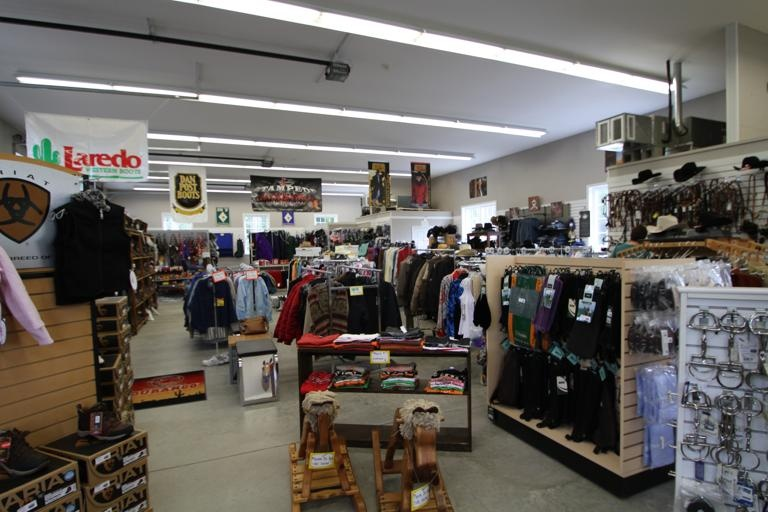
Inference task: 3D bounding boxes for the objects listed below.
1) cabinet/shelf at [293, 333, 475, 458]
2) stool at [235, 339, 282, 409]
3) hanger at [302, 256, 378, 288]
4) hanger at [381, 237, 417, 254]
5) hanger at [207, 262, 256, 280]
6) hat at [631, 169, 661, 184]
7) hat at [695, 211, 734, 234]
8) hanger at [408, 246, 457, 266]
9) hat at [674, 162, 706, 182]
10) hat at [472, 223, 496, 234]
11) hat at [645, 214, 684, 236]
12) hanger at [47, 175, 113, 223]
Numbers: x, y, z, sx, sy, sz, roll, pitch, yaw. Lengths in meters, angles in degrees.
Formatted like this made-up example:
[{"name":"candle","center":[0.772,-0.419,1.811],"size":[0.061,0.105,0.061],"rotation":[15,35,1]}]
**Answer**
[{"name":"cabinet/shelf","center":[0.111,1.495,6.547],"size":[1.982,1.312,1.973],"rotation":[-1,4,6]},{"name":"stool","center":[-1.737,1.607,7.140],"size":[0.721,0.936,0.720],"rotation":[-1,1,-26]},{"name":"hanger","center":[-0.579,0.253,7.984],"size":[0.821,0.359,0.625],"rotation":[-3,6,-40]},{"name":"hanger","center":[0.290,-0.281,12.712],"size":[1.243,0.460,0.368],"rotation":[0,4,41]},{"name":"hanger","center":[-3.220,0.298,10.655],"size":[0.667,0.249,0.476],"rotation":[0,2,-13]},{"name":"hat","center":[4.546,-1.385,8.752],"size":[0.469,0.245,0.298],"rotation":[2,5,43]},{"name":"hat","center":[4.347,-0.451,6.643],"size":[0.367,0.246,0.683],"rotation":[1,5,34]},{"name":"hanger","center":[0.888,0.006,10.021],"size":[1.146,0.455,0.343],"rotation":[-1,7,14]},{"name":"hat","center":[4.968,-1.375,8.230],"size":[0.457,0.314,0.307],"rotation":[2,5,42]},{"name":"hat","center":[2.494,-0.670,12.292],"size":[0.611,0.213,0.458],"rotation":[-1,4,-18]},{"name":"hat","center":[3.805,-0.368,6.912],"size":[0.364,0.165,0.395],"rotation":[-20,7,-11]},{"name":"hanger","center":[-3.129,-0.523,5.387],"size":[0.382,0.545,0.177],"rotation":[30,-36,0]}]
